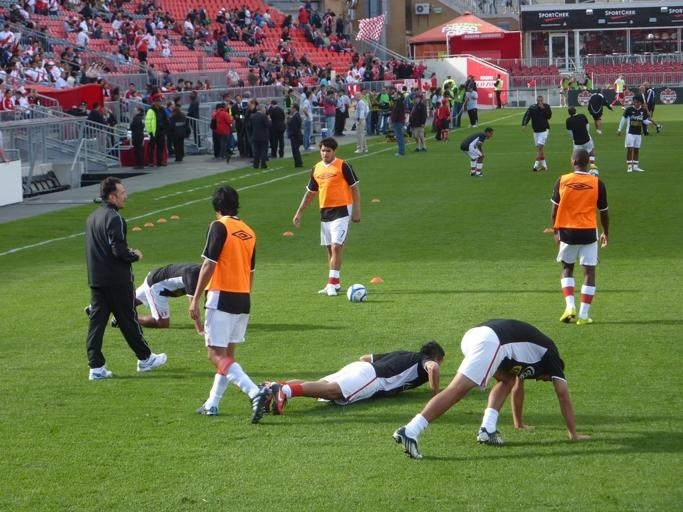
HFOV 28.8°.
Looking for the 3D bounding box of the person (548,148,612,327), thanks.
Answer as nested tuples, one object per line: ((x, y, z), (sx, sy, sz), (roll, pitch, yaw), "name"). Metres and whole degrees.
((4.143, -0.346, 23.166), (0.939, 3.031, 0.627), (-2, 6, 3), "person")

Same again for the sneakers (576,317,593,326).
((4.226, 1.153, 23.167), (0.301, 0.129, 0.104), (1, 6, -22), "sneakers")

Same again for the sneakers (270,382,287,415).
((-0.947, 2.157, 20.109), (0.176, 0.526, 0.224), (2, 33, 14), "sneakers")

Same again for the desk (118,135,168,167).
((-6.538, -3.306, 42.399), (0.994, 0.671, 1.054), (0, 1, 28), "desk")

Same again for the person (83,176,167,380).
((-3.508, 0.349, 21.347), (1.179, 3.175, 1.045), (-1, 4, -5), "person")

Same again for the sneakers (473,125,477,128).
((5.284, -5.193, 53.158), (0.083, 0.098, 0.237), (-2, -5, 22), "sneakers")

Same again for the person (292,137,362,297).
((-0.226, -0.750, 25.104), (0.950, 2.973, 0.931), (-6, 8, -29), "person")

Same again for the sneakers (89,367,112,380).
((-3.896, 1.888, 21.343), (0.413, 0.190, 0.155), (-2, 10, -14), "sneakers")

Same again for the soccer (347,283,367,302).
((0.287, 0.687, 24.699), (0.375, 0.317, 0.351), (-3, 7, -7), "soccer")

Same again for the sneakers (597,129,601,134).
((9.308, -4.499, 48.191), (0.132, 0.274, 0.473), (0, 1, 8), "sneakers")

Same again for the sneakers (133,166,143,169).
((-6.402, -2.781, 41.498), (0.491, 0.114, 0.202), (5, 11, 45), "sneakers")

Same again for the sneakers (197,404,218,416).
((-2.056, 2.353, 20.261), (0.310, 0.164, 0.128), (7, 3, 38), "sneakers")

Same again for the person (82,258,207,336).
((-3.160, 0.610, 23.086), (2.294, 1.173, 0.991), (-5, 14, 4), "person")

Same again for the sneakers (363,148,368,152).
((0.761, -3.560, 44.662), (0.115, 0.154, 0.352), (-2, -2, 2), "sneakers")

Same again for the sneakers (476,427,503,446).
((2.153, 2.670, 19.495), (0.475, 0.237, 0.172), (3, 5, -22), "sneakers")

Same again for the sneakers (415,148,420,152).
((2.519, -3.562, 44.621), (0.093, 0.097, 0.127), (-1, -12, 21), "sneakers")

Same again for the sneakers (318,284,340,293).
((-0.257, 0.623, 25.194), (0.450, 0.220, 0.169), (1, 5, 15), "sneakers")

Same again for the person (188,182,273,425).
((-1.771, 0.738, 20.203), (1.021, 3.546, 1.001), (-3, 7, -8), "person")

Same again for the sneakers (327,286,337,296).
((-0.192, 0.659, 25.080), (0.156, 0.184, 0.448), (-1, -1, -2), "sneakers")
